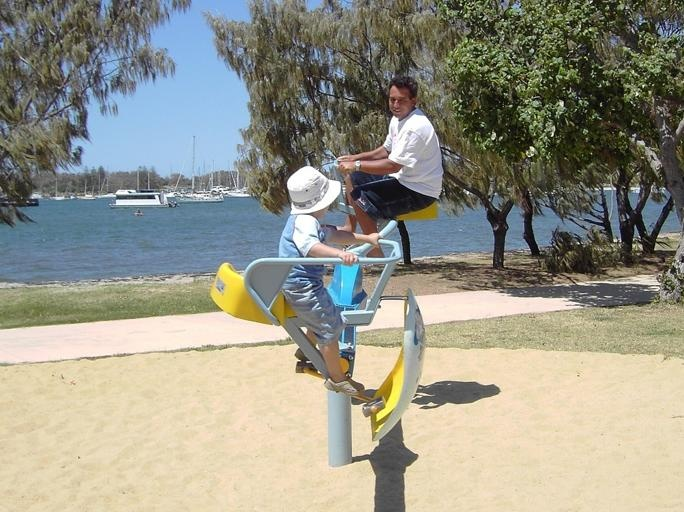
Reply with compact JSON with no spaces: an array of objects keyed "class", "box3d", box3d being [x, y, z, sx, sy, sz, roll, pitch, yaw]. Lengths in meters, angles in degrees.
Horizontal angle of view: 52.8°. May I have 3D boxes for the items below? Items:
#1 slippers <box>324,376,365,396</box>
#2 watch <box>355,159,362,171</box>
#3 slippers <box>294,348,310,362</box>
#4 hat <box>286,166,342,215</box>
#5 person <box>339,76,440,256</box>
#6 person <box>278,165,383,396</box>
[{"class":"slippers","box3d":[0.030,1.099,5.944,0.338,0.153,0.147,10,22,-12]},{"class":"watch","box3d":[0.154,-0.859,6.459,0.054,0.090,0.078,2,33,6]},{"class":"slippers","box3d":[-0.349,0.891,6.225,0.132,0.138,0.150,-4,1,-28]},{"class":"hat","box3d":[-0.211,-0.586,5.770,0.385,0.202,0.407,13,52,44]},{"class":"person","box3d":[0.432,-0.857,6.797,1.068,1.761,0.844,1,15,-3]},{"class":"person","box3d":[-0.156,0.259,5.912,0.729,2.029,0.815,-2,14,1]}]
